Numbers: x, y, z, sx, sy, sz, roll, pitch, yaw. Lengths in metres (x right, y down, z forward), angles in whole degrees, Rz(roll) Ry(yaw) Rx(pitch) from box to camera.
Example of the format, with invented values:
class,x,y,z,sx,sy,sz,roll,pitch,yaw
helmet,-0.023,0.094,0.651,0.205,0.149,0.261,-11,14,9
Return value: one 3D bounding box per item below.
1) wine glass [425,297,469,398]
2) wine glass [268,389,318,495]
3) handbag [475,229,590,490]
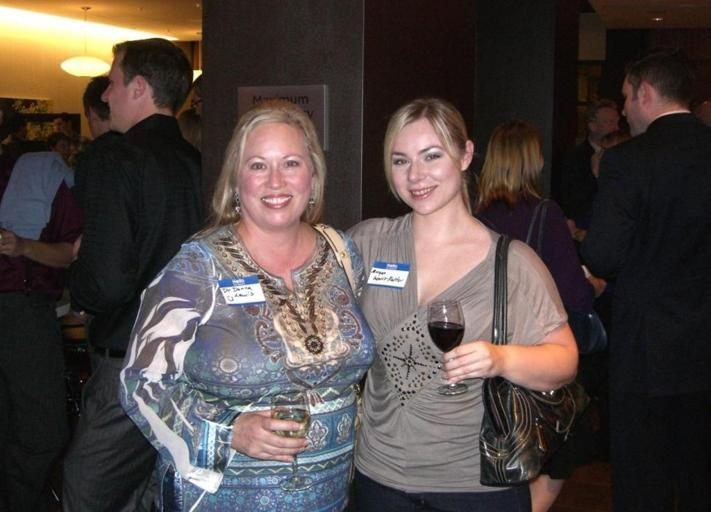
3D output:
class,x,y,z,sx,sy,sz,roll,pitch,yaw
wine glass,0.363,0.364,2.425,0.168,0.382,0.212,-2,11,-13
wine glass,-0.210,0.691,2.346,0.126,0.396,0.214,7,13,29
handbag,0.698,0.425,2.454,0.387,0.946,0.378,4,12,20
